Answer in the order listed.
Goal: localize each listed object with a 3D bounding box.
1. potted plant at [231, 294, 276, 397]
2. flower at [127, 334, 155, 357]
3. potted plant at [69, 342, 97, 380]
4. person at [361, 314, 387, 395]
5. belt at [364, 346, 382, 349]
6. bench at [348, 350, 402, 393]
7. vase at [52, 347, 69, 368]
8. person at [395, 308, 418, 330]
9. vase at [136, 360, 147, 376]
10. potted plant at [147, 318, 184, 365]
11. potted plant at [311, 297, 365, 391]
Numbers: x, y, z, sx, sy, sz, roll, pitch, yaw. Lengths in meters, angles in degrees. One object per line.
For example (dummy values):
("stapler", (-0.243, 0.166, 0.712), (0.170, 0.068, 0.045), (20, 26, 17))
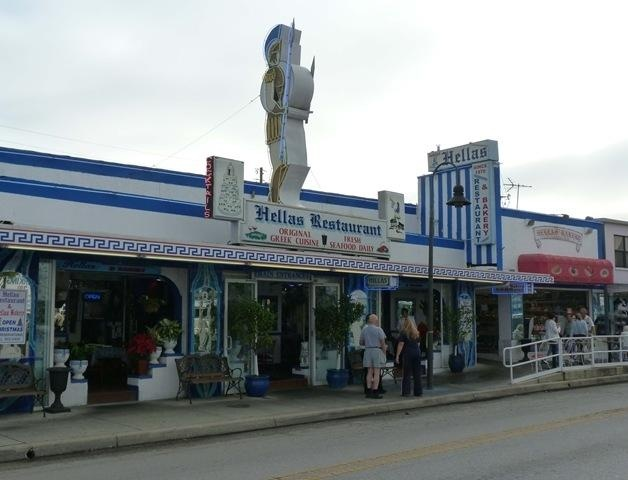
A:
("potted plant", (-1.687, 2.789, 18.448), (1.029, 2.577, 1.845), (2, -10, -16))
("flower", (-4.228, 2.606, 17.222), (0.538, 0.573, 0.556), (3, -7, -23))
("potted plant", (-5.479, 2.865, 16.256), (0.464, 0.689, 0.459), (10, -15, -42))
("person", (1.522, 3.003, 18.080), (0.611, 2.111, 0.728), (-1, -9, 3))
("belt", (1.538, 2.763, 17.940), (0.394, 0.087, 0.118), (-2, -10, 4))
("bench", (1.715, 3.838, 20.526), (1.132, 1.362, 1.191), (-6, -14, 10))
("vase", (-5.690, 2.648, 15.816), (0.352, 0.397, 0.327), (6, -10, -34))
("person", (2.740, 2.376, 21.062), (0.771, 0.818, 0.445), (1, 5, 7))
("vase", (-4.227, 3.143, 17.215), (0.290, 0.325, 0.304), (-1, -5, 36))
("potted plant", (-3.752, 2.587, 17.758), (1.018, 1.094, 0.890), (6, -10, -27))
("potted plant", (0.672, 2.841, 19.914), (1.088, 2.523, 1.393), (6, -11, -35))
